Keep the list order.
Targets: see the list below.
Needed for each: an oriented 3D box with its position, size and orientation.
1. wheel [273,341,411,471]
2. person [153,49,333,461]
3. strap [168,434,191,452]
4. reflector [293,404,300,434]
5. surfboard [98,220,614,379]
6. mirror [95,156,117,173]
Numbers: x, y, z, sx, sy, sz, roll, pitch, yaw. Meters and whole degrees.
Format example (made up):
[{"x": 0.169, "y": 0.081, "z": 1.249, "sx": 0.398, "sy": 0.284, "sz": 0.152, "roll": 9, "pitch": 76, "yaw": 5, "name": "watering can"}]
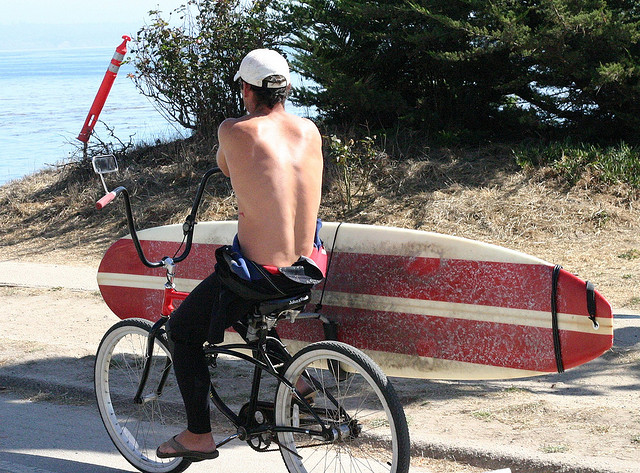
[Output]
[{"x": 0.168, "y": 1.429, "z": 7.443, "sx": 0.933, "sy": 1.298, "sz": 1.454, "roll": 1, "pitch": 7, "yaw": -1, "name": "wheel"}, {"x": -0.589, "y": 0.288, "z": 7.349, "sx": 1.273, "sy": 3.491, "sz": 0.880, "roll": 2, "pitch": 17, "yaw": -2, "name": "person"}, {"x": -1.167, "y": 1.709, "z": 7.417, "sx": 0.193, "sy": 0.058, "sz": 0.075, "roll": 34, "pitch": -2, "yaw": 5, "name": "strap"}, {"x": -0.200, "y": 1.493, "z": 7.305, "sx": 0.048, "sy": 0.218, "sz": 0.064, "roll": 3, "pitch": 1, "yaw": -2, "name": "reflector"}, {"x": 0.244, "y": 0.603, "z": 8.240, "sx": 5.408, "sy": 1.516, "sz": 0.774, "roll": 8, "pitch": -21, "yaw": -16, "name": "surfboard"}, {"x": -1.813, "y": -0.610, "z": 7.551, "sx": 0.182, "sy": 0.152, "sz": 0.106, "roll": -2, "pitch": 18, "yaw": -16, "name": "mirror"}]
